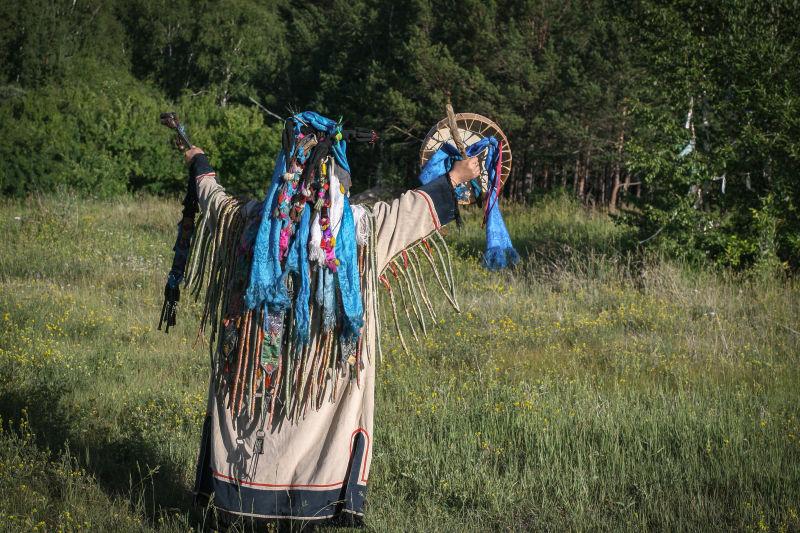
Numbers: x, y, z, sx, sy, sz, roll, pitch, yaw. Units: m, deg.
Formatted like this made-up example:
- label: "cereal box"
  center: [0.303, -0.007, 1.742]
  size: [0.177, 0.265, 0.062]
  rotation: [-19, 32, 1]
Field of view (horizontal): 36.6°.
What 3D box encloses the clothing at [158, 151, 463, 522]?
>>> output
- label: "clothing"
  center: [-1.780, 1.699, 24.274]
  size: [5.778, 7.882, 0.784]
  rotation: [2, -1, -2]
